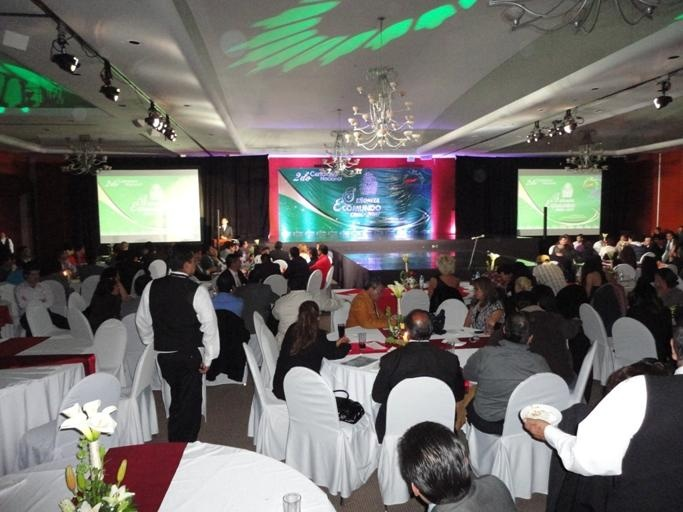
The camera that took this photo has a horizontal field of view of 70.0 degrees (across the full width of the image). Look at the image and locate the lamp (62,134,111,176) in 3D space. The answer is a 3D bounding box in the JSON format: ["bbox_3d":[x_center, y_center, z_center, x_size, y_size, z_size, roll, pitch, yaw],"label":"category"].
[{"bbox_3d":[-6.867,-2.790,13.094,1.036,0.791,1.033,-2,4,-28],"label":"lamp"}]

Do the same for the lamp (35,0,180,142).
[{"bbox_3d":[-3.147,-2.429,7.131,0.372,0.547,3.042,20,-21,24],"label":"lamp"}]

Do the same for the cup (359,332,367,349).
[{"bbox_3d":[0.222,0.835,4.865,0.112,0.176,0.112,-2,-5,0],"label":"cup"}]

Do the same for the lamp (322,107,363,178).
[{"bbox_3d":[-0.005,-3.299,13.913,0.996,1.760,1.008,-5,-17,21],"label":"lamp"}]

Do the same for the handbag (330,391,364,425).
[{"bbox_3d":[0.052,1.227,4.060,0.269,0.266,0.174,2,26,37],"label":"handbag"}]

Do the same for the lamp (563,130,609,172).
[{"bbox_3d":[6.680,-2.981,13.236,0.963,1.062,0.965,2,7,35],"label":"lamp"}]
